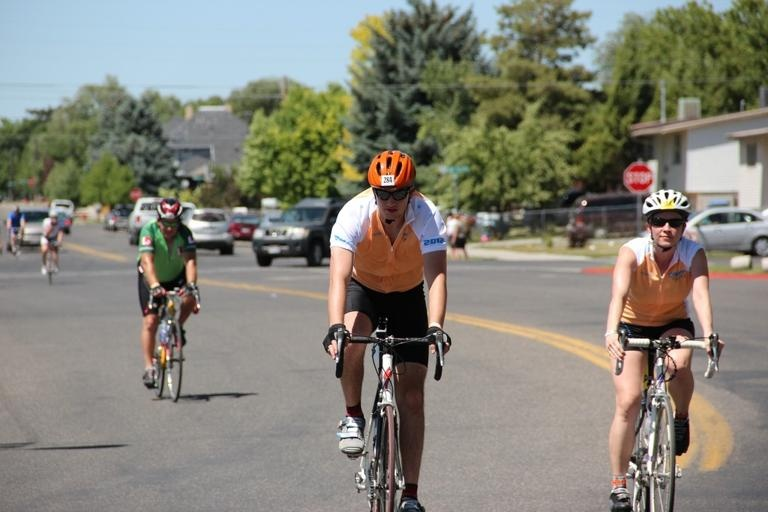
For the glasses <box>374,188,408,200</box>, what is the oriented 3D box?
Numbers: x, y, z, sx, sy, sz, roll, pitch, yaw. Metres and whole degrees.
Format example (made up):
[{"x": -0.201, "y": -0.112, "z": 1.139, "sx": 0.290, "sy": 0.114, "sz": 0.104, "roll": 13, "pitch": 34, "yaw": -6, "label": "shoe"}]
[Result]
[{"x": 0.104, "y": -0.733, "z": 13.624, "sx": 0.379, "sy": 0.145, "sz": 0.084, "roll": 1, "pitch": 6, "yaw": -1, "label": "glasses"}]

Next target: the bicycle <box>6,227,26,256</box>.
[{"x": -9.497, "y": -0.401, "z": 29.961, "sx": 0.373, "sy": 0.520, "sz": 0.798, "roll": 2, "pitch": 4, "yaw": -10, "label": "bicycle"}]

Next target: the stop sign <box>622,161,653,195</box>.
[{"x": 8.443, "y": -2.624, "z": 38.259, "sx": 1.028, "sy": 1.137, "sz": 0.128, "roll": 0, "pitch": 33, "yaw": 14, "label": "stop sign"}]

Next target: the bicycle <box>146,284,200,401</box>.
[{"x": -3.238, "y": 1.328, "z": 17.744, "sx": 0.555, "sy": 1.689, "sz": 1.955, "roll": 1, "pitch": -1, "yaw": -14, "label": "bicycle"}]

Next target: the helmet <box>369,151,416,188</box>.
[{"x": 0.093, "y": -1.023, "z": 13.681, "sx": 0.529, "sy": 0.427, "sz": 0.313, "roll": 1, "pitch": 6, "yaw": -3, "label": "helmet"}]

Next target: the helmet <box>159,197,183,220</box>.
[{"x": -3.174, "y": -0.712, "z": 17.257, "sx": 0.251, "sy": 0.299, "sz": 0.340, "roll": 0, "pitch": 6, "yaw": -10, "label": "helmet"}]

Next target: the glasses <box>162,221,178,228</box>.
[{"x": -3.193, "y": -0.474, "z": 17.355, "sx": 0.211, "sy": 0.126, "sz": 0.163, "roll": 0, "pitch": 6, "yaw": -13, "label": "glasses"}]
